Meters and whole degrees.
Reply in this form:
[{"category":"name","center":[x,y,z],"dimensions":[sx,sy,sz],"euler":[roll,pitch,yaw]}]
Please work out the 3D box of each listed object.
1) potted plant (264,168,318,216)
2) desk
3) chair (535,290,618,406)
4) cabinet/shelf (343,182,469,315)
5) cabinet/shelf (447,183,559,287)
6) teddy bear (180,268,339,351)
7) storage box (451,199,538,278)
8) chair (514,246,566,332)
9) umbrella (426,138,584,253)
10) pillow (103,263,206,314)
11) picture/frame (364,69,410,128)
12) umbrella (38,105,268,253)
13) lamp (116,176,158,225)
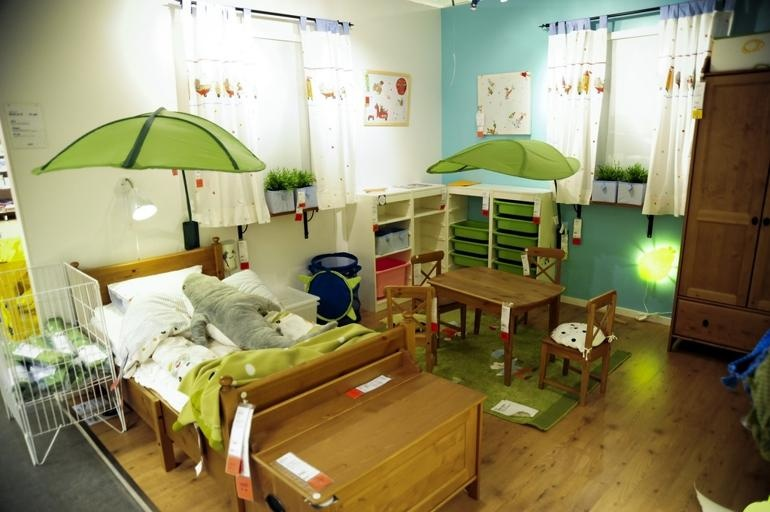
[{"category":"potted plant","center":[-1.059,-0.734,5.786],"dimensions":[0.507,0.393,0.296],"euler":[-10,16,-35]},{"category":"desk","center":[1.112,0.680,5.371],"dimensions":[0.934,0.853,1.283],"euler":[-13,19,-34]},{"category":"chair","center":[1.845,0.929,4.903],"dimensions":[0.733,1.169,0.721],"euler":[-16,22,-39]},{"category":"cabinet/shelf","center":[0.201,-0.092,6.222],"dimensions":[0.485,1.385,1.502],"euler":[13,21,40]},{"category":"cabinet/shelf","center":[1.473,-0.257,6.202],"dimensions":[0.407,1.091,1.164],"euler":[-16,20,-43]},{"category":"teddy bear","center":[-1.335,0.493,4.463],"dimensions":[0.635,0.350,1.189],"euler":[-15,26,-40]},{"category":"storage box","center":[1.379,-0.202,6.345],"dimensions":[0.912,0.831,0.309],"euler":[13,20,37]},{"category":"chair","center":[1.637,0.354,5.488],"dimensions":[0.620,0.769,0.610],"euler":[-5,11,0]},{"category":"umbrella","center":[0.937,-0.736,4.511],"dimensions":[1.310,0.631,1.273],"euler":[4,27,38]},{"category":"pillow","center":[-2.243,0.272,4.830],"dimensions":[0.524,0.130,0.448],"euler":[-14,27,-32]},{"category":"picture/frame","center":[0.031,-2.039,6.618],"dimensions":[0.746,0.674,0.075],"euler":[15,25,33]},{"category":"umbrella","center":[-1.619,-0.588,3.976],"dimensions":[1.388,1.030,1.672],"euler":[14,22,35]},{"category":"lamp","center":[-2.349,-0.529,4.861],"dimensions":[0.283,0.215,0.533],"euler":[-29,70,-23]}]
